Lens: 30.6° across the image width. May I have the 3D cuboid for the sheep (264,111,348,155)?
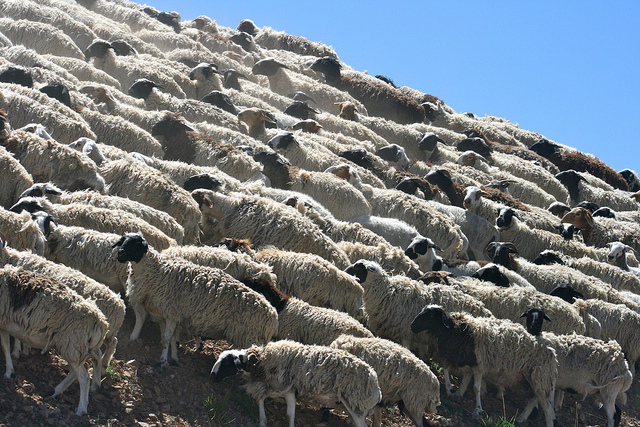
[{"bbox_3d":[-0.421,-2.160,31.835,1.937,0.448,1.161,17,-37,-4],"label":"sheep"}]

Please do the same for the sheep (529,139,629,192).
[{"bbox_3d":[8.186,-1.360,38.060,3.261,0.877,1.535,22,-27,16],"label":"sheep"}]

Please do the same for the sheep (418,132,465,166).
[{"bbox_3d":[3.624,-1.940,35.766,1.361,0.783,1.038,12,23,-44],"label":"sheep"}]

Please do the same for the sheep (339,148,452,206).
[{"bbox_3d":[1.872,-0.907,30.371,1.899,0.702,0.920,24,-50,-2],"label":"sheep"}]

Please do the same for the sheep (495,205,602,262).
[{"bbox_3d":[5.562,0.734,30.125,3.303,1.607,0.942,4,1,-39],"label":"sheep"}]

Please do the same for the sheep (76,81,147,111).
[{"bbox_3d":[-5.319,-2.964,29.680,1.398,0.339,0.671,17,-37,-12],"label":"sheep"}]

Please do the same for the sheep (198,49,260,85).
[{"bbox_3d":[-2.862,-4.629,36.918,2.116,0.774,1.031,16,-39,-25],"label":"sheep"}]

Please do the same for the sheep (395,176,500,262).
[{"bbox_3d":[3.073,0.203,28.761,2.875,1.524,0.832,28,-13,-3],"label":"sheep"}]

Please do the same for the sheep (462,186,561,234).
[{"bbox_3d":[5.063,-0.200,30.660,2.999,1.373,1.101,10,-2,-23],"label":"sheep"}]

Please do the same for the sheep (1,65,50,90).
[{"bbox_3d":[-7.187,-3.323,28.405,1.041,0.408,0.606,24,8,-32],"label":"sheep"}]

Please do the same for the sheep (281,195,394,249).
[{"bbox_3d":[0.363,-0.070,26.817,2.515,1.199,0.831,-18,8,-17],"label":"sheep"}]

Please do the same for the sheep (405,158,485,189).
[{"bbox_3d":[3.504,-1.108,32.839,1.955,0.929,0.900,20,20,-4],"label":"sheep"}]

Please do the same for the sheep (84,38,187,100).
[{"bbox_3d":[-5.184,-3.938,32.203,2.828,0.861,1.330,26,-33,-6],"label":"sheep"}]

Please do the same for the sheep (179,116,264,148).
[{"bbox_3d":[-2.767,-2.203,29.963,2.059,0.950,0.610,-1,-41,-23],"label":"sheep"}]
